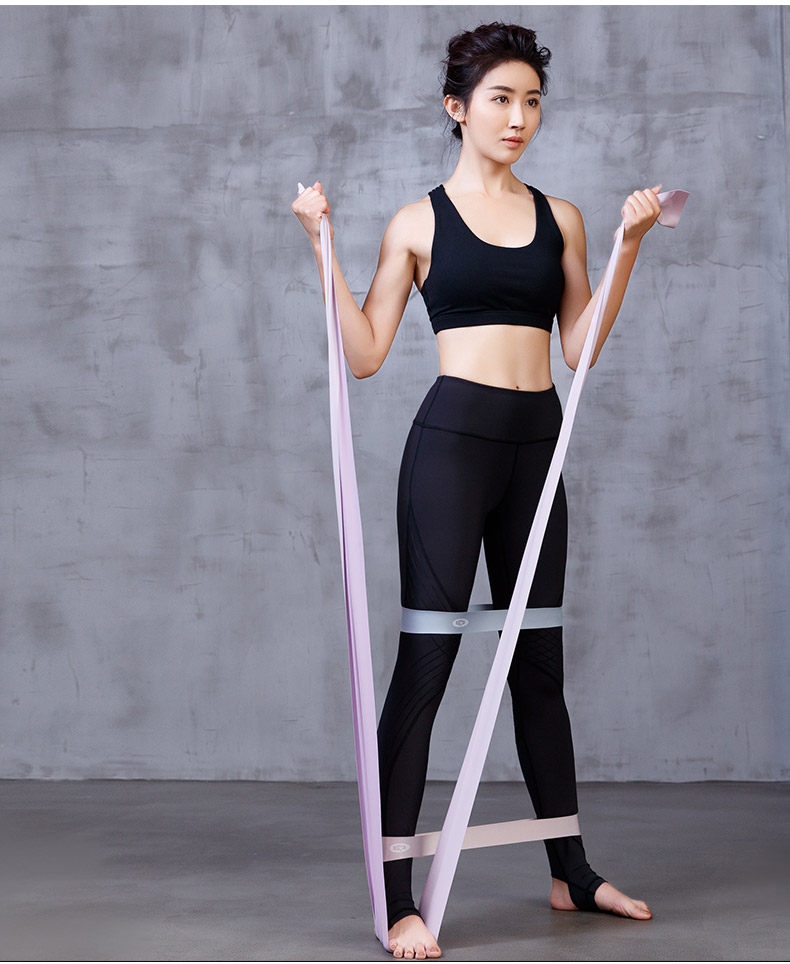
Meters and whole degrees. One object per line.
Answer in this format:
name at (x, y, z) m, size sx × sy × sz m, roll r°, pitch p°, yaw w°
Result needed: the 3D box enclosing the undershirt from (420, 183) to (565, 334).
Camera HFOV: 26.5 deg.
undershirt at (0.199, -0.478, 3.546) m, size 0.321 × 0.357 × 0.210 m, roll 2°, pitch -14°, yaw -13°
